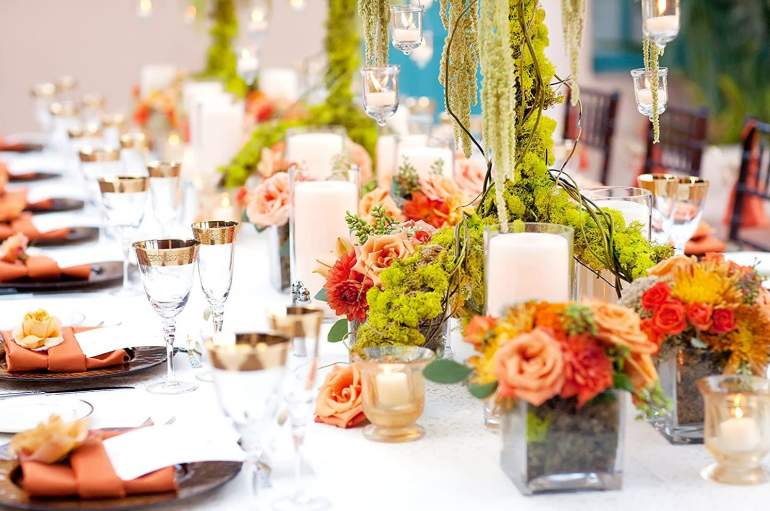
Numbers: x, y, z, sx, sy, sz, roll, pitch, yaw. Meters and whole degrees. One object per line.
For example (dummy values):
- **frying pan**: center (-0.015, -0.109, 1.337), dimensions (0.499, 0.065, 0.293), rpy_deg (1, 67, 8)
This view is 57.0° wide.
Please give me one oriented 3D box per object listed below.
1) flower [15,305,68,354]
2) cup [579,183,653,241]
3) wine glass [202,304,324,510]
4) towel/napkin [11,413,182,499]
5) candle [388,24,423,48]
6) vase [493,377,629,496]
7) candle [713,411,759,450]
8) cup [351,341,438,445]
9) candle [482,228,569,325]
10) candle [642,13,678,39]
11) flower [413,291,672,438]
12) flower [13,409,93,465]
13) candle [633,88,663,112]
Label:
- **flower**: center (-0.676, 0.148, 1.417), dimensions (0.087, 0.085, 0.054), rpy_deg (-9, -24, -18)
- **cup**: center (0.456, -0.079, 1.410), dimensions (0.116, 0.092, 0.120), rpy_deg (0, 1, 0)
- **wine glass**: center (-0.151, 0.217, 1.020), dimensions (0.148, 0.306, 0.239), rpy_deg (-5, 9, -4)
- **towel/napkin**: center (-0.459, 0.322, 1.101), dimensions (0.234, 0.068, 0.237), rpy_deg (5, 0, -19)
- **candle**: center (0.041, -0.421, 1.366), dimensions (0.042, 0.026, 0.041), rpy_deg (-6, 10, -37)
- **vase**: center (0.280, 0.276, 1.152), dimensions (0.166, 0.162, 0.166), rpy_deg (0, 2, 10)
- **candle**: center (0.542, 0.274, 1.100), dimensions (0.065, 0.056, 0.065), rpy_deg (-4, 5, 22)
- **cup**: center (0.017, 0.238, 1.218), dimensions (0.135, 0.141, 0.140), rpy_deg (0, 2, 0)
- **candle**: center (0.220, 0.040, 1.192), dimensions (0.138, 0.154, 0.137), rpy_deg (-1, 2, -5)
- **candle**: center (0.475, -0.395, 1.240), dimensions (0.041, 0.032, 0.045), rpy_deg (-5, 5, -23)
- **flower**: center (0.233, 0.135, 1.046), dimensions (0.225, 0.125, 0.223), rpy_deg (-4, -3, 44)
- **flower**: center (-0.486, 0.267, 1.053), dimensions (0.075, 0.037, 0.076), rpy_deg (-15, 16, 41)
- **candle**: center (0.498, -0.292, 1.355), dimensions (0.048, 0.035, 0.048), rpy_deg (-1, 5, -2)
